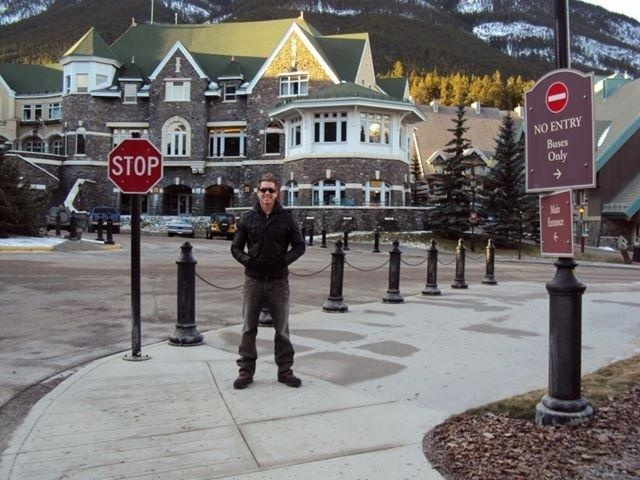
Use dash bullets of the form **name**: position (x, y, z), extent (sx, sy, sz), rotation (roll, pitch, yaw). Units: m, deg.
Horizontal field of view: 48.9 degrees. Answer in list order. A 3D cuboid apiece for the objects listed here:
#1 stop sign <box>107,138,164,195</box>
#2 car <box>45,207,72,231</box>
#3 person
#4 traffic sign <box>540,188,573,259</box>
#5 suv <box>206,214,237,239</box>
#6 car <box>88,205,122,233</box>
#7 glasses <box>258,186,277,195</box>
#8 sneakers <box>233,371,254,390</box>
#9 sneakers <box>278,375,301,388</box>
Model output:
- **stop sign**: position (-2.675, -1.071, 10.213), extent (0.728, 0.840, 0.379), rotation (0, 1, -17)
- **car**: position (-15.464, -1.200, 41.715), extent (1.351, 1.325, 2.448), rotation (-1, 8, -13)
- **person**: position (-0.664, 0.521, 9.128), extent (0.928, 2.712, 0.568), rotation (0, 1, -9)
- **traffic sign**: position (2.646, -0.177, 7.826), extent (0.201, 0.739, 0.533), rotation (0, 1, -16)
- **suv**: position (-5.492, -0.705, 39.555), extent (1.253, 1.251, 2.302), rotation (0, 5, -11)
- **car**: position (-13.504, -1.231, 44.117), extent (1.766, 1.614, 3.424), rotation (0, 1, -19)
- **glasses**: position (-0.652, -0.628, 9.062), extent (0.228, 0.081, 0.108), rotation (0, 1, -10)
- **sneakers**: position (-0.958, 1.802, 8.961), extent (0.116, 0.148, 0.325), rotation (0, -5, 15)
- **sneakers**: position (-0.366, 1.809, 9.050), extent (0.264, 0.135, 0.132), rotation (-2, -1, 43)
